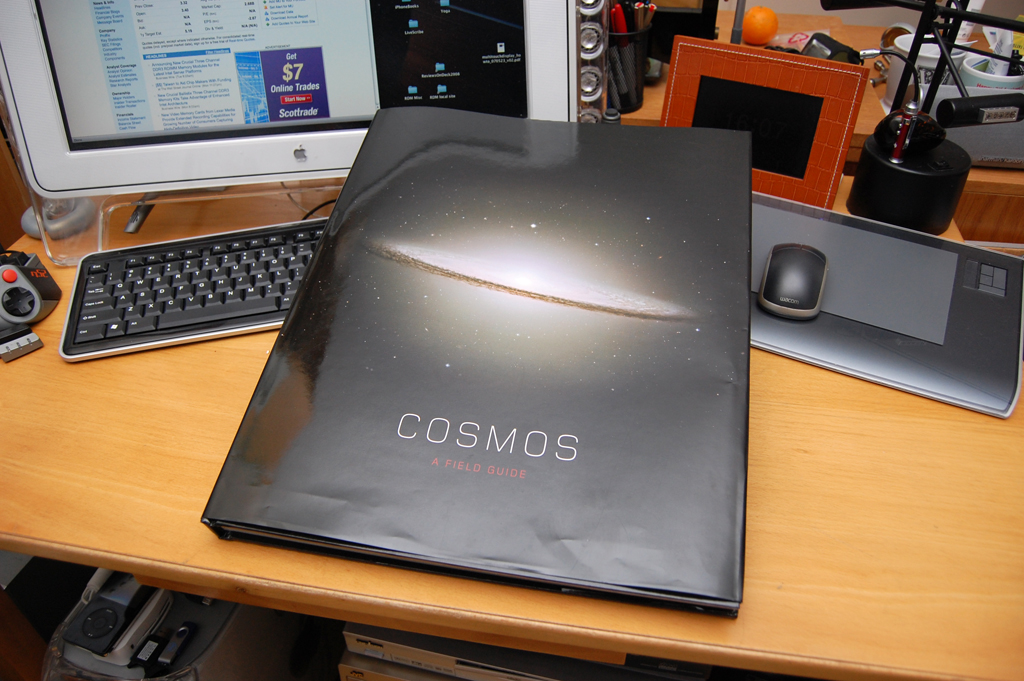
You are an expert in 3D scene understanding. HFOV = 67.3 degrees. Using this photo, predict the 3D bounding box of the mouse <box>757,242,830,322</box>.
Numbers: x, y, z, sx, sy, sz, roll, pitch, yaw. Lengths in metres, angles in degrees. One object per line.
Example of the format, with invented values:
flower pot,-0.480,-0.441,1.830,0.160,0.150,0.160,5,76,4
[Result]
mouse,0.368,-0.085,1.002,0.074,0.106,0.034,17,40,22
